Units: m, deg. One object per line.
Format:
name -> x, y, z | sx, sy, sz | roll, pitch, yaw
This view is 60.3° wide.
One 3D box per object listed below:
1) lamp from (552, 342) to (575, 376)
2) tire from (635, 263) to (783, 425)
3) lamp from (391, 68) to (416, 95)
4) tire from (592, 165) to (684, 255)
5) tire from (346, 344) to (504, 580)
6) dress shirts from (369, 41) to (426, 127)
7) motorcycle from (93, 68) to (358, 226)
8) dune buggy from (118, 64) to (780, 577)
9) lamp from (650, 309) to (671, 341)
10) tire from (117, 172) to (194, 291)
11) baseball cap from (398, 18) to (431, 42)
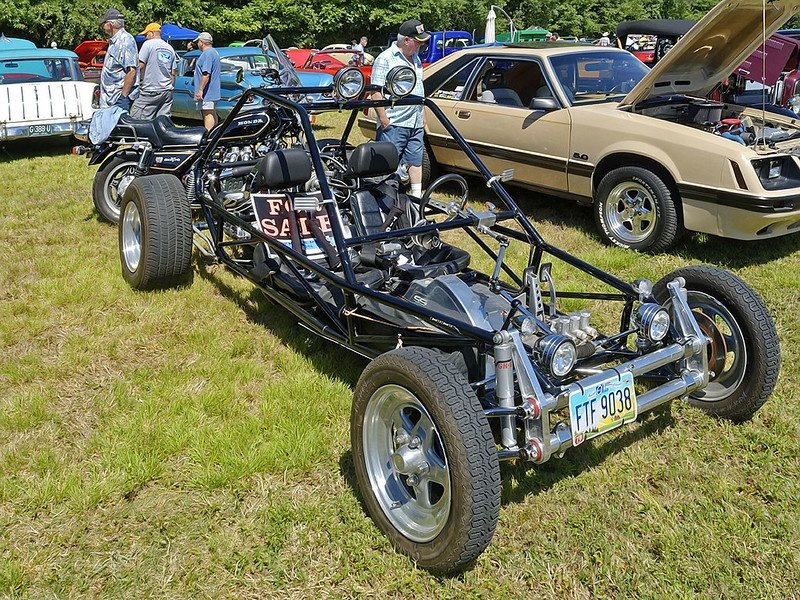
lamp -> 0.846, 0.307, 3.604 | 0.051, 0.153, 0.146 | 17, 22, 41
tire -> 1.942, 0.297, 4.267 | 0.348, 0.887, 0.720 | -16, 30, -37
lamp -> 0.018, -1.472, 4.679 | 0.150, 0.150, 0.085 | 19, 20, -36
tire -> 2.245, -0.830, 6.540 | 0.277, 0.821, 0.783 | -10, 19, -33
tire -> 0.126, 0.872, 3.527 | 0.254, 0.780, 0.901 | -2, 58, -45
dress shirts -> -0.022, -2.108, 6.808 | 0.595, 0.520, 1.064 | -1, 38, 0
motorcycle -> -1.887, -1.362, 7.039 | 2.472, 1.599, 1.245 | 7, -4, 2
dune buggy -> -0.334, 0.225, 5.296 | 2.467, 2.195, 4.699 | -18, 35, -33
lamp -> 1.489, 0.148, 3.971 | 0.126, 0.130, 0.123 | 13, 8, -44
tire -> -2.044, -0.532, 5.675 | 0.320, 0.935, 0.886 | -5, -4, -38
baseball cap -> 0.143, -2.560, 6.687 | 0.300, 0.185, 0.217 | -7, 44, -6
